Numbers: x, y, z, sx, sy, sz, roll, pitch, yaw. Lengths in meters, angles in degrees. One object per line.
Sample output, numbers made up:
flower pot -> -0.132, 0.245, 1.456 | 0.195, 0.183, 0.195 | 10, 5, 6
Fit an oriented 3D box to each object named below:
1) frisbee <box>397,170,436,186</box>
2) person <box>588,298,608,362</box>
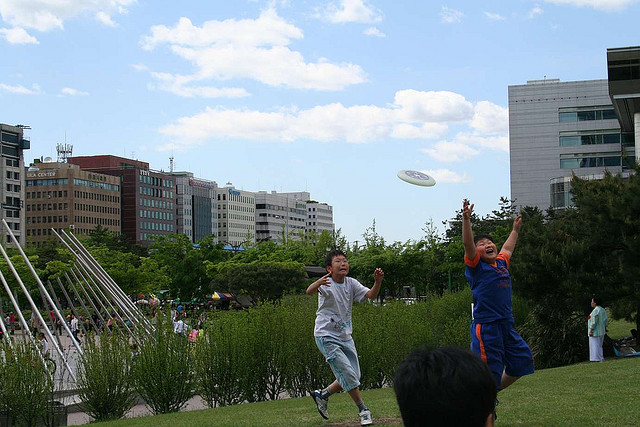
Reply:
frisbee -> 2.271, -0.849, 20.325 | 0.635, 0.417, 0.706 | -7, -7, 43
person -> 8.859, 3.685, 27.382 | 0.570, 1.970, 1.247 | -4, -6, 18
